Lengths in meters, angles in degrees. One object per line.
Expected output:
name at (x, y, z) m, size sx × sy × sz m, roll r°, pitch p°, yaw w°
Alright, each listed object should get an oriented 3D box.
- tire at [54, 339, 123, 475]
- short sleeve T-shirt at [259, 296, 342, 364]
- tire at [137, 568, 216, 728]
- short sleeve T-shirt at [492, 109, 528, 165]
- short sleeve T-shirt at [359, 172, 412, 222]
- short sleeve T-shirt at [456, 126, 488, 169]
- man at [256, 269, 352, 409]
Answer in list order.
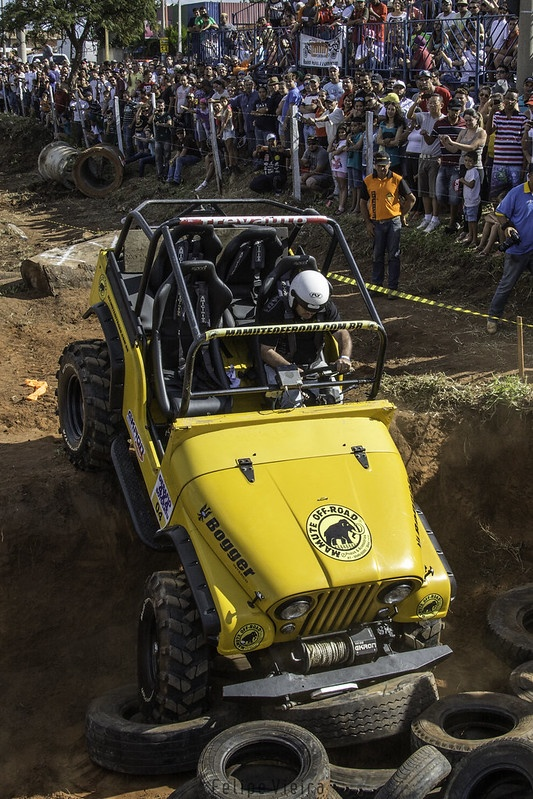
tire at (-1.550, 0.062, 6.500) m, size 0.390 × 1.159 × 1.190 m, roll -5°, pitch 7°, yaw -29°
short sleeve T-shirt at (0.209, -0.505, 5.283) m, size 0.456 × 0.360 × 0.234 m, roll -17°, pitch 43°, yaw -17°
tire at (-0.456, 1.290, 3.743) m, size 0.229 × 0.685 × 0.704 m, roll -2°, pitch 27°, yaw -26°
short sleeve T-shirt at (3.204, -3.439, 9.671) m, size 0.475 × 0.664 × 0.200 m, roll 15°, pitch 22°, yaw 42°
short sleeve T-shirt at (1.611, -2.742, 9.881) m, size 0.672 × 0.637 × 0.371 m, roll 2°, pitch 14°, yaw 26°
short sleeve T-shirt at (2.844, -3.522, 10.219) m, size 0.380 × 0.579 × 0.527 m, roll 3°, pitch 17°, yaw 13°
man at (0.176, -0.471, 5.580) m, size 0.898 × 0.982 × 0.694 m, roll 4°, pitch -22°, yaw 7°
